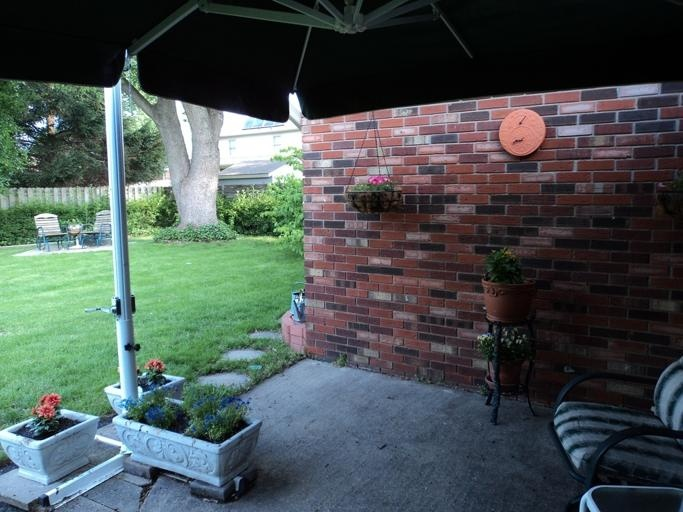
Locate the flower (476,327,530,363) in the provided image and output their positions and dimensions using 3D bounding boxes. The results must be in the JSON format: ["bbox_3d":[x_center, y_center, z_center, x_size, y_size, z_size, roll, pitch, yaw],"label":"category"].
[{"bbox_3d":[1.340,0.739,4.094,0.358,0.205,0.306,1,-6,-19],"label":"flower"}]

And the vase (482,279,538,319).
[{"bbox_3d":[1.349,0.348,3.942,0.350,0.219,0.349,1,3,30],"label":"vase"}]

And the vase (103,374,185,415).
[{"bbox_3d":[-1.579,1.074,3.924,0.398,0.268,0.476,4,8,23],"label":"vase"}]

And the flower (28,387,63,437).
[{"bbox_3d":[-2.102,1.149,3.534,0.173,0.241,0.251,-24,-24,21],"label":"flower"}]

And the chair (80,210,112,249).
[{"bbox_3d":[-7.063,-0.807,14.077,0.814,0.940,1.618,-7,9,-26],"label":"chair"}]

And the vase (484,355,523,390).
[{"bbox_3d":[1.374,0.980,4.182,0.307,0.212,0.291,0,-3,-3],"label":"vase"}]

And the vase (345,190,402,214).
[{"bbox_3d":[0.282,-0.504,4.498,0.298,0.113,0.290,-3,0,-44],"label":"vase"}]

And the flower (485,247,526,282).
[{"bbox_3d":[1.320,0.044,4.047,0.290,0.238,0.313,5,9,36],"label":"flower"}]

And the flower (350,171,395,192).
[{"bbox_3d":[0.276,-0.666,4.532,0.421,0.143,0.213,-2,8,3],"label":"flower"}]

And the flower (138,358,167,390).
[{"bbox_3d":[-1.556,0.961,4.004,0.207,0.153,0.245,6,26,-3],"label":"flower"}]
